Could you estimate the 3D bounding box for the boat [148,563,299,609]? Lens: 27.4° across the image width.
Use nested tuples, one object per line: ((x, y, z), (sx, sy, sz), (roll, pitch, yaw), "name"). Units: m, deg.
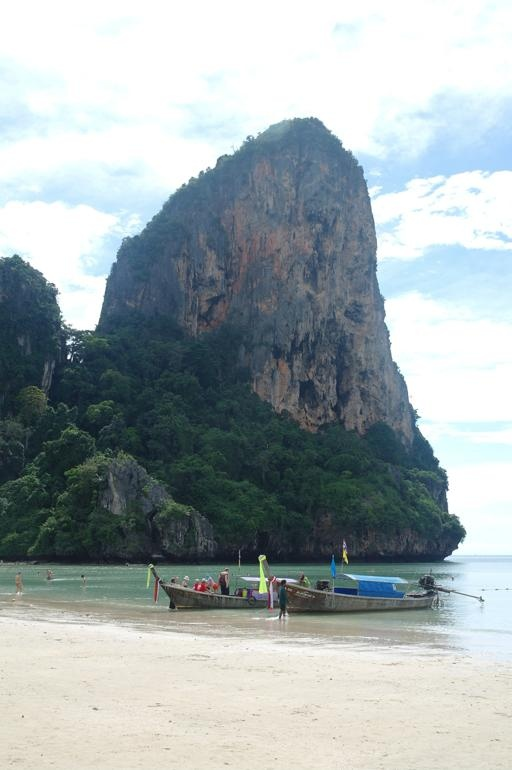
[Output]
((-1.857, 8.960, 45.106), (4.345, 1.358, 7.188), (2, -10, -2), "boat")
